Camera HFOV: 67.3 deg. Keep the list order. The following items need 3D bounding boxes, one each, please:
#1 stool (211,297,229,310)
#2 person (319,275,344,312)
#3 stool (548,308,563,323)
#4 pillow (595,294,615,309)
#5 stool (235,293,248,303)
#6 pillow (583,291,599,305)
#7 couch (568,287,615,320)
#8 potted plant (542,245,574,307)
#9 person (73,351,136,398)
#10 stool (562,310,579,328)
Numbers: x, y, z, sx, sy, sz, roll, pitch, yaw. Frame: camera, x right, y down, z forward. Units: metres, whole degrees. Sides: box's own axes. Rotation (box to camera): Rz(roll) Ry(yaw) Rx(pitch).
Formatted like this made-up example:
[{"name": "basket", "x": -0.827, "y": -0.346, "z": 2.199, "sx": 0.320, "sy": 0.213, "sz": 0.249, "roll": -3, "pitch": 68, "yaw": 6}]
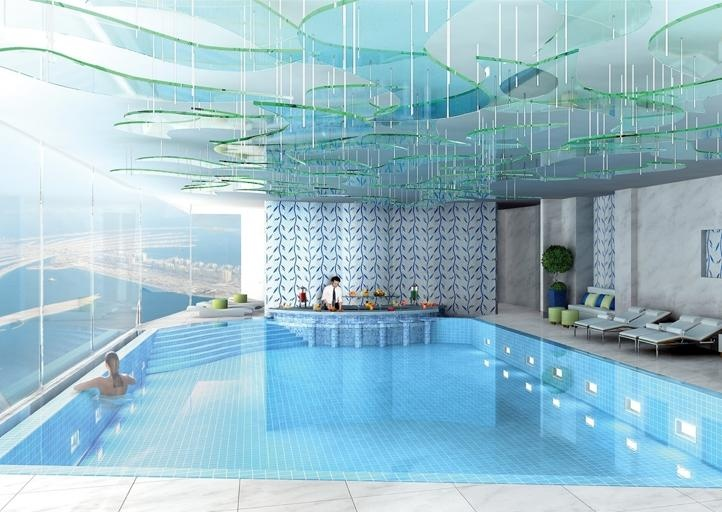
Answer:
[{"name": "stool", "x": -4.882, "y": 1.621, "z": 18.679, "sx": 0.415, "sy": 0.257, "sz": 0.404, "roll": 0, "pitch": 1, "yaw": -20}, {"name": "person", "x": -0.832, "y": 1.136, "z": 16.255, "sx": 0.664, "sy": 1.041, "sz": 0.676, "roll": 15, "pitch": 13, "yaw": 43}, {"name": "stool", "x": 5.952, "y": 1.794, "z": 16.513, "sx": 0.425, "sy": 0.453, "sz": 0.416, "roll": 0, "pitch": 1, "yaw": 18}, {"name": "pillow", "x": 7.326, "y": 1.336, "z": 16.158, "sx": 0.121, "sy": 0.381, "sz": 0.403, "roll": 28, "pitch": 4, "yaw": -12}, {"name": "stool", "x": -4.604, "y": 1.613, "z": 20.689, "sx": 0.481, "sy": 0.314, "sz": 0.551, "roll": 0, "pitch": 3, "yaw": -11}, {"name": "pillow", "x": 7.205, "y": 1.330, "z": 16.859, "sx": 0.128, "sy": 0.380, "sz": 0.411, "roll": 24, "pitch": -6, "yaw": -14}, {"name": "couch", "x": 7.238, "y": 1.482, "z": 16.678, "sx": 0.786, "sy": 0.859, "sz": 1.666, "roll": -4, "pitch": 2, "yaw": -18}, {"name": "potted plant", "x": 6.601, "y": 0.726, "z": 18.263, "sx": 0.986, "sy": 1.977, "sz": 1.085, "roll": 0, "pitch": 0, "yaw": 12}, {"name": "person", "x": -4.716, "y": 2.269, "z": 10.253, "sx": 0.459, "sy": 0.754, "sz": 1.418, "roll": 3, "pitch": -5, "yaw": 25}, {"name": "stool", "x": 6.079, "y": 1.787, "z": 15.646, "sx": 0.554, "sy": 0.476, "sz": 0.501, "roll": 1, "pitch": 9, "yaw": 4}]
